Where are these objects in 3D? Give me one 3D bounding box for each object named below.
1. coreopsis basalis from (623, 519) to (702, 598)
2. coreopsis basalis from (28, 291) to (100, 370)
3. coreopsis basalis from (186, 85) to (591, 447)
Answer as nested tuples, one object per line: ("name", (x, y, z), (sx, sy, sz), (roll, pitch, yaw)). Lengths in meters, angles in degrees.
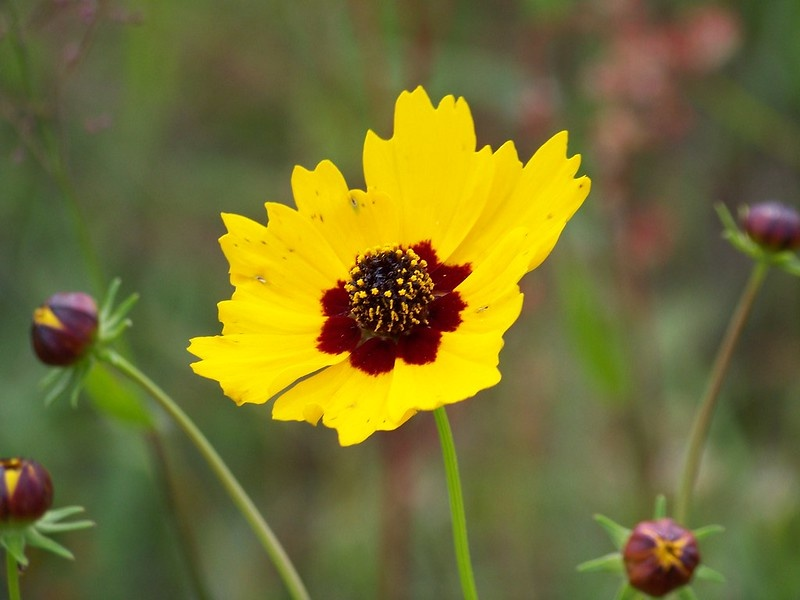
("coreopsis basalis", (0.451, 0.442, 1.370), (0.130, 0.054, 0.121), (-11, 63, -3))
("coreopsis basalis", (-0.670, 0.057, 1.532), (0.103, 0.139, 0.122), (20, 84, -9))
("coreopsis basalis", (-0.021, -0.091, 1.667), (0.769, 0.836, 0.296), (1, 63, -30))
